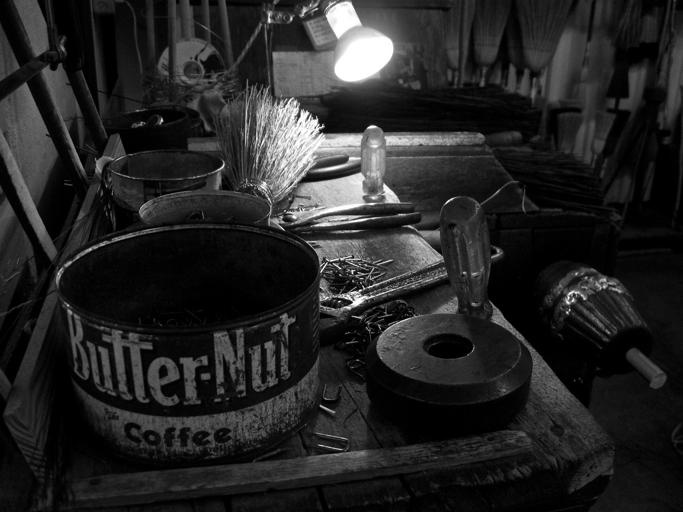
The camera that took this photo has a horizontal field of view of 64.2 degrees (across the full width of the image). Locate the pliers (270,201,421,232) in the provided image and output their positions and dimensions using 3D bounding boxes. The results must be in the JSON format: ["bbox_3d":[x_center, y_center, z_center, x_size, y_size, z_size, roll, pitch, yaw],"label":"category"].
[{"bbox_3d":[0.008,-0.093,1.267,0.322,0.035,0.083,-5,18,-12],"label":"pliers"}]

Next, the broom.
[{"bbox_3d":[-0.240,-0.284,1.483,0.244,0.285,0.201,6,-7,-2],"label":"broom"}]

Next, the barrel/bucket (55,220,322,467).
[{"bbox_3d":[-0.153,0.100,0.727,0.294,0.193,0.307,1,26,-1],"label":"barrel/bucket"}]

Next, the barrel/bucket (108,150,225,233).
[{"bbox_3d":[-0.343,-0.105,1.069,0.182,0.144,0.193,0,16,0],"label":"barrel/bucket"}]
